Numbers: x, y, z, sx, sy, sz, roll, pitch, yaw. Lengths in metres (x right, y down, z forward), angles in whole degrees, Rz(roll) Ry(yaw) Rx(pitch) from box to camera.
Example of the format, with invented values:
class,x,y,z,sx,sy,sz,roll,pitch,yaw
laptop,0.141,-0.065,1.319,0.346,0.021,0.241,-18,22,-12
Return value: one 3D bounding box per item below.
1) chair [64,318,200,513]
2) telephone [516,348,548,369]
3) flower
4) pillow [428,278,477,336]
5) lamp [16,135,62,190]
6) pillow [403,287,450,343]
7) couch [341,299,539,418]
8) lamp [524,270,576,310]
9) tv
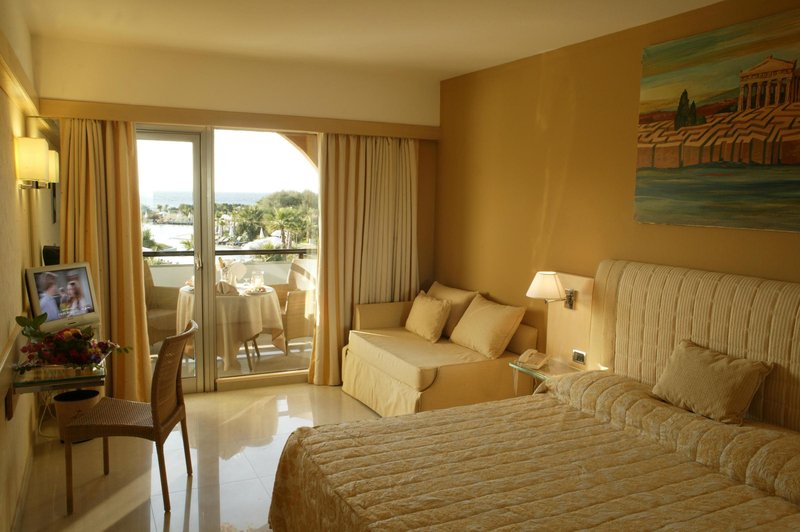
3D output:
class,x,y,z,sx,sy,sz,roll,pitch,yaw
chair,-2.060,1.120,4.249,0.842,1.206,0.750,1,3,-16
telephone,1.165,0.815,4.841,0.172,0.067,0.177,10,24,31
flower,-2.604,0.590,4.177,0.731,0.285,0.571,3,-8,12
pillow,0.512,0.436,6.089,0.163,0.382,0.550,20,-23,-33
lamp,-3.068,-0.862,4.643,0.192,0.326,0.652,-1,6,-15
pillow,0.279,0.535,6.011,0.279,0.439,0.591,10,4,-31
couch,0.316,0.914,5.807,1.601,1.057,1.667,-3,9,-29
lamp,1.328,0.191,4.803,0.365,0.314,0.331,-2,1,-26
tv,-2.793,0.283,4.530,0.212,0.601,0.607,-15,-3,18
